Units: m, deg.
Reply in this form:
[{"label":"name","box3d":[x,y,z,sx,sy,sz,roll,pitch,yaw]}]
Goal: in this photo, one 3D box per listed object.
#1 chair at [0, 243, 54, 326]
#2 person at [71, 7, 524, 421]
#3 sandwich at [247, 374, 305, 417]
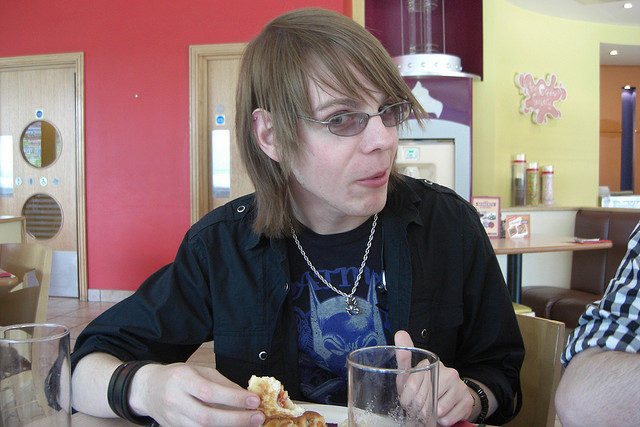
[{"label":"chair","box3d":[-1.566,0.360,2.621,0.218,0.394,0.557,-3,3,-39]},{"label":"person","box3d":[-0.057,-0.007,1.572,1.319,1.303,0.719,-2,3,-28]},{"label":"sandwich","box3d":[-0.118,0.488,1.320,0.123,0.100,0.057,21,-50,-25]}]
